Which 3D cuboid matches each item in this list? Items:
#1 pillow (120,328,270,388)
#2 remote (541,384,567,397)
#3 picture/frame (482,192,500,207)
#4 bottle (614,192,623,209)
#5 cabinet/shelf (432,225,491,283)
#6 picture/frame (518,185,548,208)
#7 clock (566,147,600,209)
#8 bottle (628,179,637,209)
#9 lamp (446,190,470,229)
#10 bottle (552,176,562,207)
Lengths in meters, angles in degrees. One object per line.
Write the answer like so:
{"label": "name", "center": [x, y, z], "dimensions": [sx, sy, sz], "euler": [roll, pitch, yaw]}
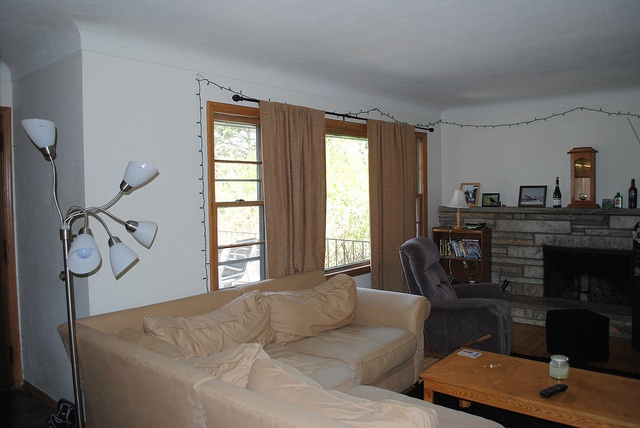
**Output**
{"label": "pillow", "center": [-0.749, 0.894, 2.686], "dimensions": [0.567, 0.165, 0.479], "euler": [18, -3, 6]}
{"label": "remote", "center": [1.749, 1.313, 3.214], "dimensions": [0.240, 0.054, 0.079], "euler": [-6, 3, -29]}
{"label": "picture/frame", "center": [2.639, -0.215, 6.615], "dimensions": [0.023, 0.209, 0.232], "euler": [19, -16, -41]}
{"label": "bottle", "center": [3.926, -0.180, 5.660], "dimensions": [0.104, 0.220, 0.259], "euler": [-1, 3, 34]}
{"label": "cabinet/shelf", "center": [2.097, 0.579, 6.266], "dimensions": [0.866, 0.950, 0.323], "euler": [-2, -3, 38]}
{"label": "picture/frame", "center": [3.118, -0.253, 6.266], "dimensions": [0.346, 0.338, 0.036], "euler": [-1, -16, 44]}
{"label": "clock", "center": [3.536, -0.488, 5.798], "dimensions": [0.331, 0.813, 0.119], "euler": [-1, 3, 29]}
{"label": "bottle", "center": [4.067, -0.263, 5.588], "dimensions": [0.100, 0.389, 0.259], "euler": [0, 3, 37]}
{"label": "lamp", "center": [2.130, -0.080, 6.608], "dimensions": [0.303, 0.577, 0.497], "euler": [-2, 2, 16]}
{"label": "bottle", "center": [3.346, -0.308, 6.062], "dimensions": [0.118, 0.435, 0.248], "euler": [-1, 3, 29]}
